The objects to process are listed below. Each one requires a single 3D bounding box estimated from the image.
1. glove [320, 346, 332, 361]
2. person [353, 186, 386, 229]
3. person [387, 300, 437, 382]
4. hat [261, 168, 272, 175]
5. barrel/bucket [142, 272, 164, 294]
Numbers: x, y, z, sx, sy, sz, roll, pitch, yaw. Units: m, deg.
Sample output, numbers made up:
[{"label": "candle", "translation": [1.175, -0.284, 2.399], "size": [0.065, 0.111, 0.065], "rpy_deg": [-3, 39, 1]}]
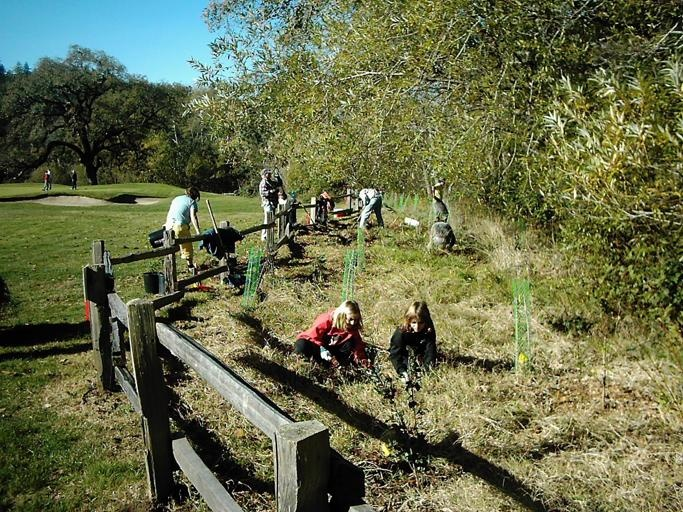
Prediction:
[{"label": "glove", "translation": [-0.221, 1.334, 7.449], "size": [0.120, 0.047, 0.165], "rpy_deg": [6, 30, -39]}, {"label": "person", "translation": [0.787, -1.329, 15.204], "size": [0.712, 1.672, 0.670], "rpy_deg": [6, -19, -36]}, {"label": "person", "translation": [0.949, 1.111, 7.213], "size": [0.531, 0.952, 0.895], "rpy_deg": [0, 13, 7]}, {"label": "hat", "translation": [-1.867, -2.048, 13.415], "size": [0.183, 0.233, 0.189], "rpy_deg": [3, 5, -4]}, {"label": "barrel/bucket", "translation": [-3.273, 0.517, 9.569], "size": [0.504, 0.383, 0.252], "rpy_deg": [7, 13, 41]}]
